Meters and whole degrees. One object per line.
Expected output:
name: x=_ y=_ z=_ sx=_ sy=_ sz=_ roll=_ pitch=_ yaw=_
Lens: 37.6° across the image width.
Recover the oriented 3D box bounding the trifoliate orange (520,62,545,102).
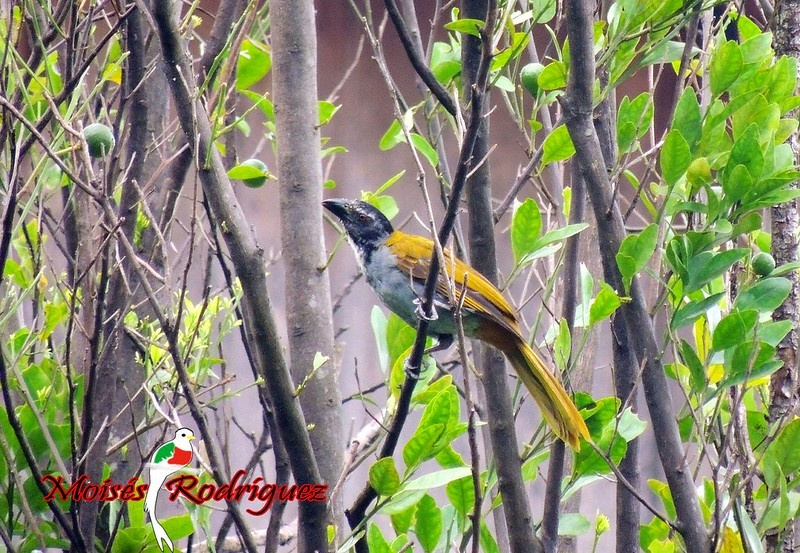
trifoliate orange: x=0.540 y=-0.800 z=4.790 sx=0.063 sy=0.146 sz=0.107 roll=4 pitch=-16 yaw=6

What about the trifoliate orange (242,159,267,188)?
trifoliate orange: x=-0.618 y=-0.458 z=4.945 sx=0.108 sy=0.125 sz=0.103 roll=4 pitch=-19 yaw=-11

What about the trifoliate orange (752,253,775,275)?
trifoliate orange: x=1.366 y=-0.047 z=4.429 sx=0.081 sy=0.102 sz=0.091 roll=-14 pitch=-14 yaw=18
